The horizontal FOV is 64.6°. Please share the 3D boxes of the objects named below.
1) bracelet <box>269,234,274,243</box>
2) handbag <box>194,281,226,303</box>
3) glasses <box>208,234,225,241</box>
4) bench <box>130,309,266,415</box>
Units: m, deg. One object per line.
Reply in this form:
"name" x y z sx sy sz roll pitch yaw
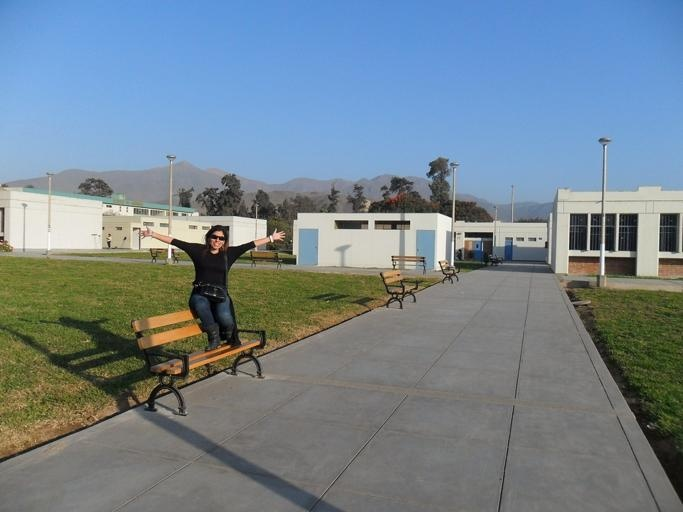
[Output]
"bracelet" -1.026 -0.267 7.919 0.043 0.119 0.088 -7 -24 16
"handbag" -1.855 0.504 7.544 0.369 0.156 0.249 2 -11 37
"glasses" -1.748 -0.243 7.631 0.203 0.082 0.069 -1 7 -14
"bench" -1.871 1.373 7.595 0.778 1.153 2.065 4 3 21
